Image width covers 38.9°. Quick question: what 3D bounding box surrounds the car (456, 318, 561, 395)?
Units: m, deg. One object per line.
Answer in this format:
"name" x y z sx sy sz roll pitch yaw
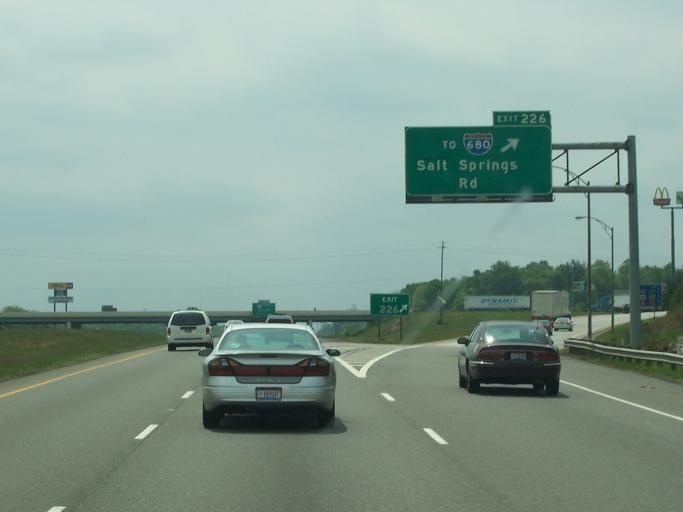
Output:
"car" 4.344 2.745 25.810 2.202 1.951 5.484 1 -4 2

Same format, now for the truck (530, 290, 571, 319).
"truck" 19.256 4.475 91.033 1.905 3.755 6.573 1 2 25

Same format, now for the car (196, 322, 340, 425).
"car" -1.554 2.889 20.968 2.844 2.434 5.727 1 -9 -1
